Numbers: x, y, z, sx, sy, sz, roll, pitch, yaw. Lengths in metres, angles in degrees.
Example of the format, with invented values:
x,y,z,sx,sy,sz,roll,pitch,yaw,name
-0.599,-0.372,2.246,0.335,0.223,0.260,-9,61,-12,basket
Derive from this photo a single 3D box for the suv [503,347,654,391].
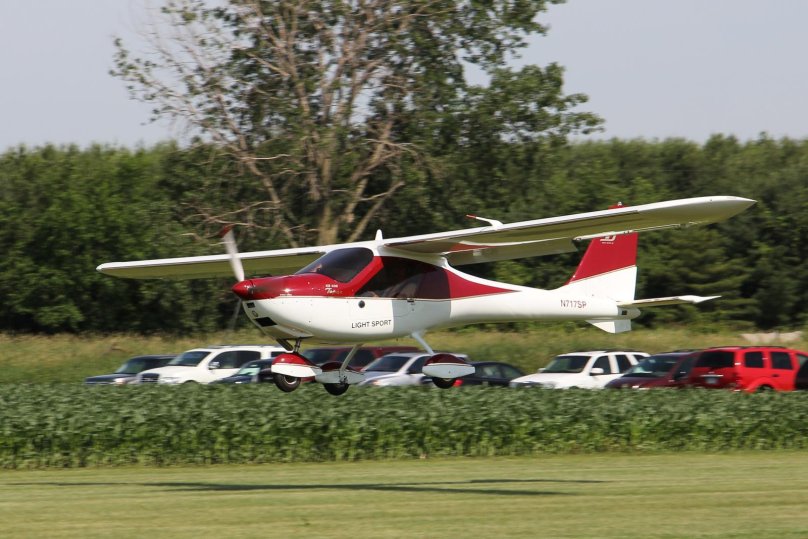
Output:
x,y,z,sx,sy,sz,roll,pitch,yaw,name
5.203,3.001,32.052,4.135,0.739,2.077,-5,12,-39,suv

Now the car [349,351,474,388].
x,y,z,sx,sy,sz,roll,pitch,yaw,name
0.079,2.899,31.921,4.124,0.582,1.261,0,-3,2,car

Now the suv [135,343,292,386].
x,y,z,sx,sy,sz,roll,pitch,yaw,name
-5.913,3.036,34.678,4.470,0.869,2.214,-3,12,-42,suv
